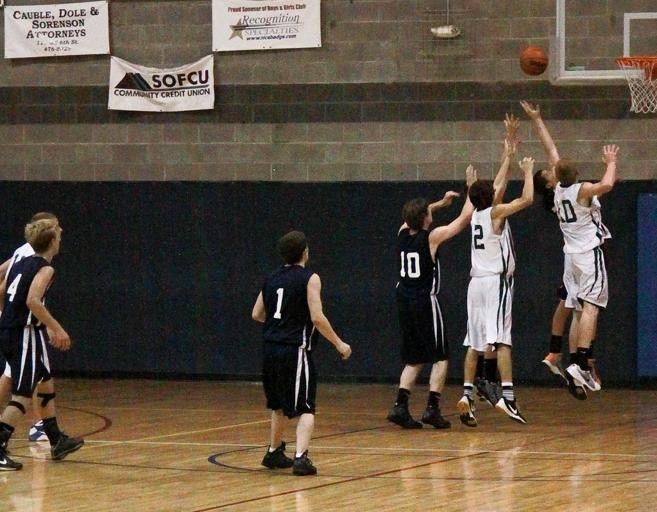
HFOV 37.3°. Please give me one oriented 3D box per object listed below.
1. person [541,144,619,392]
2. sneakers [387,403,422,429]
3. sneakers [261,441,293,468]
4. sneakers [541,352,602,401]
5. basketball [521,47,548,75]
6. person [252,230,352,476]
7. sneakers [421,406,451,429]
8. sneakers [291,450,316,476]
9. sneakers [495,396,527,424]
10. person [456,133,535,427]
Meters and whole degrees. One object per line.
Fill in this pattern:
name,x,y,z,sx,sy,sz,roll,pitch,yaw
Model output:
person,2.650,0.140,10.091,0.606,2.450,0.909,0,2,13
sneakers,0.762,1.624,9.902,0.329,0.236,0.118,27,-3,-17
sneakers,-0.431,1.665,8.225,0.341,0.257,0.127,4,5,-32
sneakers,2.749,1.339,10.961,0.703,0.297,0.228,48,-6,-35
basketball,2.342,-2.221,11.119,0.302,0.305,0.204,0,2,9
person,-0.282,0.789,7.953,0.729,1.966,0.305,0,2,9
sneakers,1.067,1.585,9.721,0.288,0.235,0.269,-1,2,5
sneakers,-0.188,1.684,7.970,0.114,0.177,0.271,2,2,17
sneakers,1.793,1.517,9.638,0.285,0.311,0.347,0,2,11
person,1.638,0.354,9.566,0.692,2.609,0.524,0,2,13
